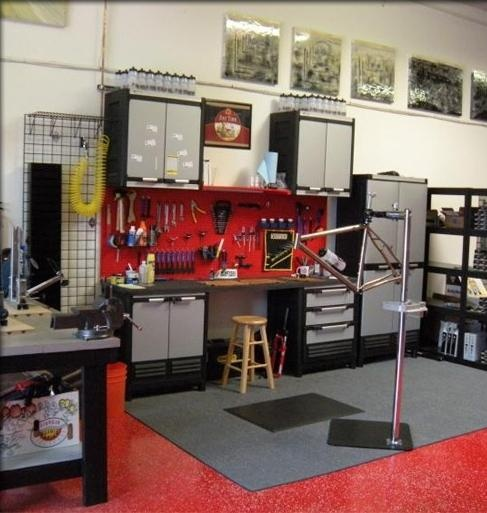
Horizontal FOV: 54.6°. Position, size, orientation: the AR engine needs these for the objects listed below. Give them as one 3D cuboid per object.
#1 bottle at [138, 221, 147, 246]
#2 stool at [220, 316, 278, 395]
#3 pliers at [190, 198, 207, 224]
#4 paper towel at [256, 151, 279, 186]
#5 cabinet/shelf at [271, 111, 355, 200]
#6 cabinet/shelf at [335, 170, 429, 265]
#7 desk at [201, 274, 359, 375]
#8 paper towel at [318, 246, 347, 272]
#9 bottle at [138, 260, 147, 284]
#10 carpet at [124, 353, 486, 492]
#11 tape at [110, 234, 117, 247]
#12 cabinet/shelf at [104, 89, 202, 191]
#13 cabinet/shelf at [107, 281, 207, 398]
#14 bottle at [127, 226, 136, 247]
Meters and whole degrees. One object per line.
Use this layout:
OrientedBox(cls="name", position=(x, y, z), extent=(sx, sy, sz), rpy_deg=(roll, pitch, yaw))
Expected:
OrientedBox(cls="bottle", position=(-1.054, -0.240, 4.905), extent=(0.104, 0.280, 0.120), rpy_deg=(1, 2, -10))
OrientedBox(cls="stool", position=(0.042, 0.978, 4.744), extent=(0.504, 0.696, 0.528), rpy_deg=(-1, -5, 31))
OrientedBox(cls="pliers", position=(-0.509, -0.496, 5.219), extent=(0.191, 0.245, 0.031), rpy_deg=(0, 2, -38))
OrientedBox(cls="paper towel", position=(0.277, -1.001, 5.426), extent=(0.223, 0.397, 0.319), rpy_deg=(1, 2, 2))
OrientedBox(cls="cabinet/shelf", position=(0.812, -1.227, 5.685), extent=(0.977, 0.934, 0.540), rpy_deg=(-3, 10, -36))
OrientedBox(cls="cabinet/shelf", position=(1.839, -0.414, 5.962), extent=(1.163, 1.221, 0.602), rpy_deg=(1, 2, -17))
OrientedBox(cls="desk", position=(0.403, 0.772, 5.219), extent=(1.159, 0.689, 0.441), rpy_deg=(-1, 2, -24))
OrientedBox(cls="paper towel", position=(0.937, 0.040, 4.983), extent=(0.222, 0.253, 0.885), rpy_deg=(2, 2, 16))
OrientedBox(cls="bottle", position=(-1.015, 0.166, 4.740), extent=(0.068, 0.202, 0.122), rpy_deg=(1, 2, -23))
OrientedBox(cls="carpet", position=(0.876, 1.369, 4.316), extent=(3.357, 0.034, 2.067), rpy_deg=(0, 2, -38))
OrientedBox(cls="tape", position=(-1.319, -0.155, 4.772), extent=(0.035, 0.102, 0.074), rpy_deg=(0, -11, 18))
OrientedBox(cls="cabinet/shelf", position=(-0.901, -1.149, 4.519), extent=(0.951, 0.922, 0.361), rpy_deg=(-1, 4, -28))
OrientedBox(cls="cabinet/shelf", position=(-0.814, 0.745, 4.762), extent=(0.888, 1.058, 0.827), rpy_deg=(3, 12, -4))
OrientedBox(cls="bottle", position=(-1.157, -0.212, 4.851), extent=(0.086, 0.226, 0.119), rpy_deg=(1, 2, -15))
